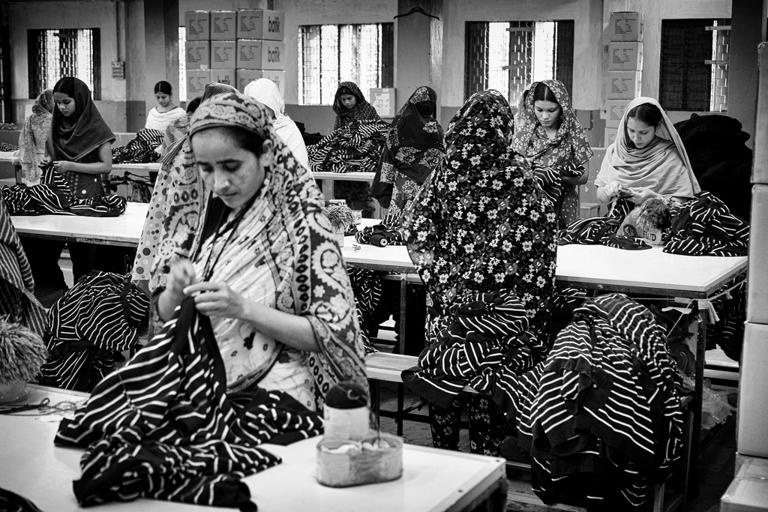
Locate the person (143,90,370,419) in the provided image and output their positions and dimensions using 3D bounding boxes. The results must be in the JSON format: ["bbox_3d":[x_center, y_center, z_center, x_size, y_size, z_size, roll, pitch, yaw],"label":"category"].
[{"bbox_3d":[-0.457,-0.015,2.574,0.802,1.080,0.384,1,7,1],"label":"person"}]

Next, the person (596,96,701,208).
[{"bbox_3d":[1.941,-0.795,5.704,0.771,0.817,0.566,9,27,35],"label":"person"}]

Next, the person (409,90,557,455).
[{"bbox_3d":[0.501,-0.192,3.974,0.821,1.386,0.455,3,8,12],"label":"person"}]
